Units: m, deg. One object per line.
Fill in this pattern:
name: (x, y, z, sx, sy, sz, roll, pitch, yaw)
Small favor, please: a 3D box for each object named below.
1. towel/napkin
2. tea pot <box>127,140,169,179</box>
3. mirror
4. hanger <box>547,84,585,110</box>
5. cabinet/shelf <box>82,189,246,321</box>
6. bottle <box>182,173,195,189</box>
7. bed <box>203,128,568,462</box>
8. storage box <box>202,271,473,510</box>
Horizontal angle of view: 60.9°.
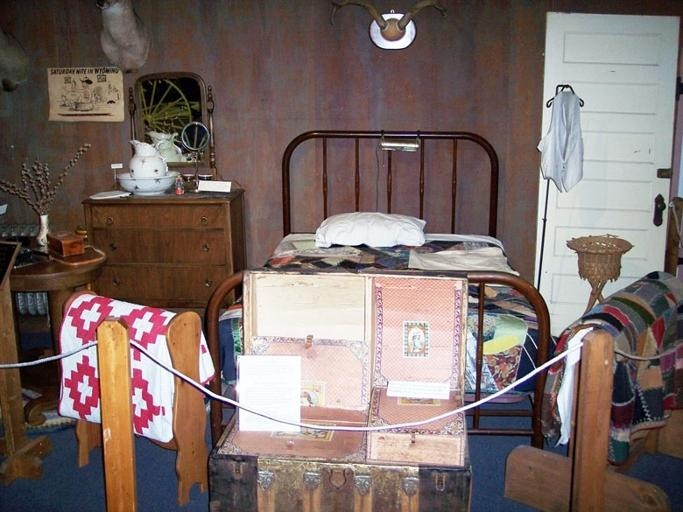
towel/napkin: (-0.992, 0.486, 2.745, 0.711, 0.609, 0.387, 4, 10, 18)
tea pot: (-1.475, -0.735, 4.414, 0.295, 0.327, 0.241, 3, 8, -11)
mirror: (-1.385, -1.123, 4.692, 0.738, 0.913, 0.048, 3, 22, 4)
hanger: (1.629, -1.146, 4.179, 0.272, 0.194, 0.033, 0, 0, 6)
cabinet/shelf: (-1.286, -0.080, 4.802, 1.360, 1.417, 0.812, 0, 9, 1)
bottle: (-1.243, -0.599, 4.735, 0.114, 0.134, 0.204, -1, 8, -18)
bed: (0.334, -0.115, 3.737, 1.462, 1.584, 2.397, 2, 14, 8)
storage box: (0.001, 0.550, 2.449, 1.055, 0.928, 0.501, 2, 7, 3)
